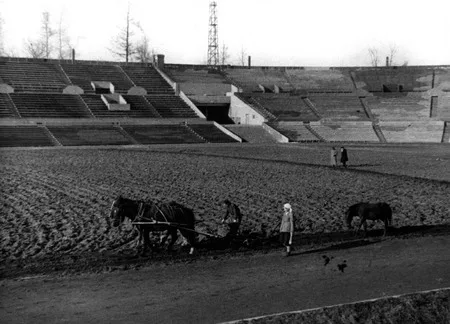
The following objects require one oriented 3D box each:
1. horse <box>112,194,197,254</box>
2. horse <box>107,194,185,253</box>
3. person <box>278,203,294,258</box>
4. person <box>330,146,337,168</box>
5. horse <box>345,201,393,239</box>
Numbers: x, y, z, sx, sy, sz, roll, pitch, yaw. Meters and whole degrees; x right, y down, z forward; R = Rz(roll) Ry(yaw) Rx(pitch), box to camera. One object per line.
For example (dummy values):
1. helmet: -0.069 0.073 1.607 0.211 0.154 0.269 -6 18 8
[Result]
1. horse: -2.220 2.061 15.873 2.579 1.931 1.146 3 12 13
2. horse: -2.169 2.048 15.881 2.883 1.837 0.886 0 3 -10
3. person: 2.038 2.082 16.057 0.413 1.783 1.225 1 12 7
4. person: 6.974 -0.404 31.214 0.408 1.077 1.752 3 13 13
5. horse: 5.207 1.978 17.746 1.495 1.438 1.892 4 13 17
